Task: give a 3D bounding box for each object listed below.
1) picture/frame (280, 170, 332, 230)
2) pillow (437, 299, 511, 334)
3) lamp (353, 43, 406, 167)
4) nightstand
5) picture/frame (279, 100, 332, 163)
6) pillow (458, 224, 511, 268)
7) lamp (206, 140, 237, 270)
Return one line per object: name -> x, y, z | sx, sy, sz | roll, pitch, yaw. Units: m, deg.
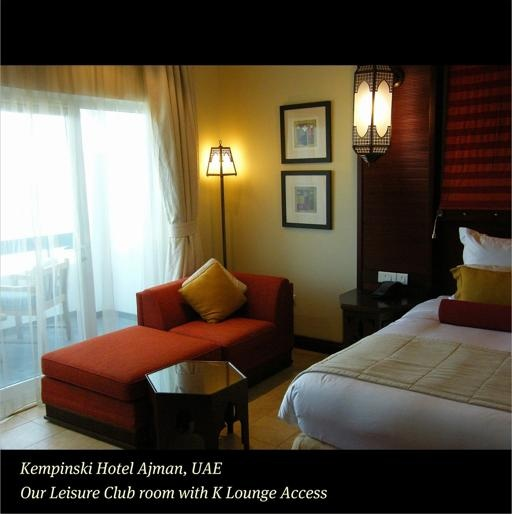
picture/frame -> 0.431, -0.496, 3.893 | 0.414, 0.552, 0.036 | 2, 4, 35
pillow -> 1.171, 0.268, 2.475 | 0.304, 0.137, 0.152 | 6, 30, 37
lamp -> 0.716, -0.880, 2.878 | 0.256, 0.549, 0.235 | 0, -1, -31
nightstand -> 0.808, 0.329, 3.272 | 0.322, 0.528, 0.388 | 3, 13, 26
picture/frame -> 0.419, -1.044, 3.810 | 0.437, 0.540, 0.033 | 4, 9, 34
pillow -> 1.429, -0.074, 2.897 | 0.204, 0.204, 0.077 | 7, -15, 35
lamp -> -0.323, -0.484, 4.248 | 0.295, 1.154, 0.392 | 0, -1, -19
